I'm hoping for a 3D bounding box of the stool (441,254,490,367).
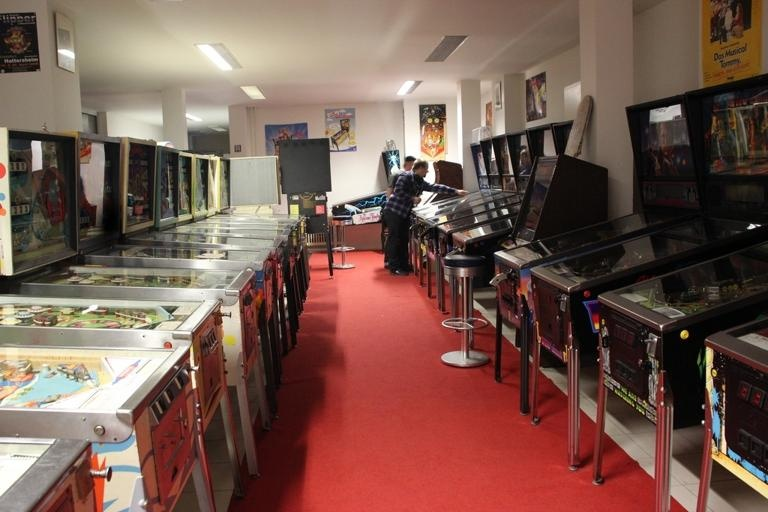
[{"bbox_3d":[0.705,0.423,4.712,0.418,0.917,0.866,-2,11,6],"label":"stool"}]

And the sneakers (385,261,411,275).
[{"bbox_3d":[0.226,0.231,8.278,0.420,0.183,0.155,9,26,-8],"label":"sneakers"}]

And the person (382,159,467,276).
[{"bbox_3d":[0.463,-0.584,8.180,0.892,1.725,0.371,-3,10,0],"label":"person"}]
